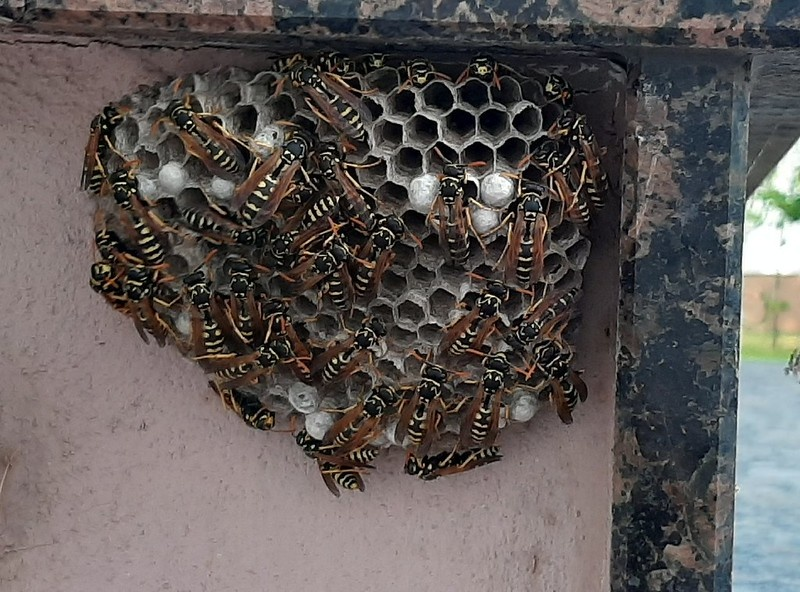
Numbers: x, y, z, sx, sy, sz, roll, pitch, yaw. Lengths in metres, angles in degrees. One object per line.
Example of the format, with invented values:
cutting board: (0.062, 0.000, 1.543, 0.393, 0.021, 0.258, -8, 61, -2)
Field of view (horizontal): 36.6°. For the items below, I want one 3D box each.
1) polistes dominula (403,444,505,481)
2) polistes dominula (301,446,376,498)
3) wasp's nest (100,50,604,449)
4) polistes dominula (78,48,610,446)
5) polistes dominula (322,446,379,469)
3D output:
polistes dominula: (0.148, 0.472, 3.365, 0.192, 0.049, 0.117, -5, -21, 2)
polistes dominula: (-0.155, 0.479, 3.375, 0.179, 0.154, 0.067, 27, 15, 12)
wasp's nest: (-0.109, -0.121, 3.222, 1.400, 0.991, 0.518, 5, 17, 2)
polistes dominula: (-0.090, -0.077, 3.621, 1.456, 1.022, 0.782, -2, -3, 4)
polistes dominula: (-0.140, 0.443, 3.341, 0.122, 0.034, 0.086, -8, 1, -2)
